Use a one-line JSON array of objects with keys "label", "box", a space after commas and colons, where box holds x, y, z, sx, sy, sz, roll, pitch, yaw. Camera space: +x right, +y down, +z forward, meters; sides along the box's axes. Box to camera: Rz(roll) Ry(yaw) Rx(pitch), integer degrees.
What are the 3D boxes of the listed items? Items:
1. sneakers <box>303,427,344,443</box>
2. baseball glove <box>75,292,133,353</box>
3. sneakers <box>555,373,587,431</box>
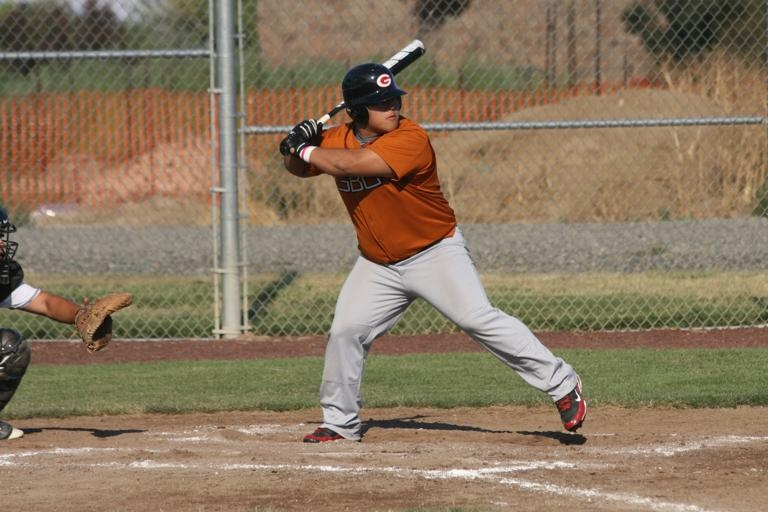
[{"label": "sneakers", "box": [-0.646, 1.875, 16.172, 0.433, 0.181, 0.165, 3, -5, -2]}, {"label": "baseball glove", "box": [-2.881, 0.680, 15.674, 0.580, 0.592, 0.249, -5, 12, -12]}, {"label": "sneakers", "box": [1.934, 1.544, 15.852, 0.276, 0.587, 0.158, -8, 13, -22]}]
